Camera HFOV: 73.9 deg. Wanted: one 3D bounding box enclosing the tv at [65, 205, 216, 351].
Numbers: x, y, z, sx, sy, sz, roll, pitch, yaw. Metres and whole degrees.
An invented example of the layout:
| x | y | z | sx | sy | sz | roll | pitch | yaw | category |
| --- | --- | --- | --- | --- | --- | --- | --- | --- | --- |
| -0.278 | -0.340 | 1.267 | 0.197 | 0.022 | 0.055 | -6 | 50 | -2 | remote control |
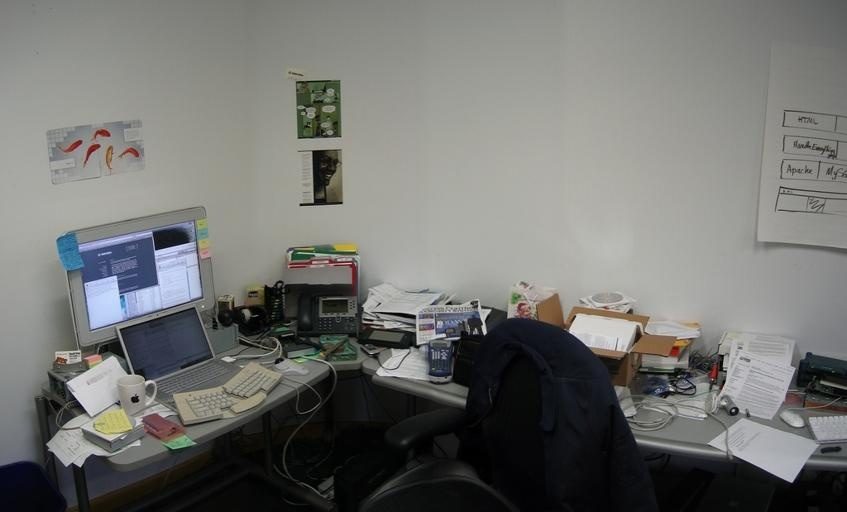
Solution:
| x | y | z | sx | sy | sz | roll | pitch | yaw | category |
| --- | --- | --- | --- | --- | --- | --- | --- | --- | --- |
| -1.645 | 0.136 | 3.212 | 0.792 | 0.649 | 0.082 | -19 | 17 | -38 | tv |

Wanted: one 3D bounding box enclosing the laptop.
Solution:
| x | y | z | sx | sy | sz | roll | pitch | yaw | category |
| --- | --- | --- | --- | --- | --- | --- | --- | --- | --- |
| -1.395 | 0.570 | 3.218 | 0.532 | 0.344 | 0.596 | 12 | 23 | 35 | laptop |

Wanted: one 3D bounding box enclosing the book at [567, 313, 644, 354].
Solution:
| x | y | z | sx | sy | sz | roll | pitch | yaw | category |
| --- | --- | --- | --- | --- | --- | --- | --- | --- | --- |
| 1.012 | 0.430 | 3.182 | 0.265 | 0.098 | 0.281 | 9 | 21 | 27 | book |

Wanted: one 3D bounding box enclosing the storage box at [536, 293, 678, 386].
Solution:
| x | y | z | sx | sy | sz | roll | pitch | yaw | category |
| --- | --- | --- | --- | --- | --- | --- | --- | --- | --- |
| 1.015 | 0.499 | 3.213 | 0.715 | 0.309 | 0.693 | 16 | 19 | 28 | storage box |

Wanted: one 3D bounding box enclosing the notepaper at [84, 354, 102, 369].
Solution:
| x | y | z | sx | sy | sz | roll | pitch | yaw | category |
| --- | --- | --- | --- | --- | --- | --- | --- | --- | --- |
| -1.797 | 0.576 | 3.060 | 0.056 | 0.050 | 0.029 | -16 | -19 | -20 | notepaper |

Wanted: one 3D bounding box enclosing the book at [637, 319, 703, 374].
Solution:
| x | y | z | sx | sy | sz | roll | pitch | yaw | category |
| --- | --- | --- | --- | --- | --- | --- | --- | --- | --- |
| 1.445 | 0.523 | 3.306 | 0.323 | 0.098 | 0.310 | 2 | 17 | 15 | book |

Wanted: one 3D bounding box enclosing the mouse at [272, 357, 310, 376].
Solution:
| x | y | z | sx | sy | sz | roll | pitch | yaw | category |
| --- | --- | --- | --- | --- | --- | --- | --- | --- | --- |
| -0.779 | 0.649 | 3.289 | 0.162 | 0.037 | 0.095 | 7 | 13 | 15 | mouse |
